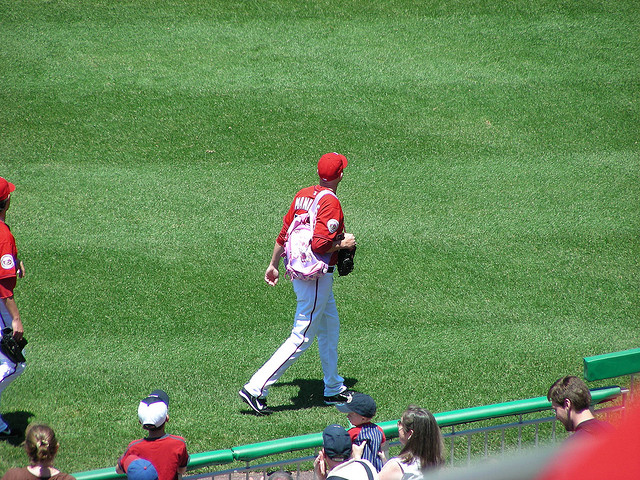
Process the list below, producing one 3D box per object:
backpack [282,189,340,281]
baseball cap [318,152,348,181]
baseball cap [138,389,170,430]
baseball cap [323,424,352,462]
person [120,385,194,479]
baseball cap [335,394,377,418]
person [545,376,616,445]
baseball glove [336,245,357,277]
[{"bbox_3d":[-0.147,-0.063,18.725,0.648,1.164,0.490,1,-16,1],"label":"backpack"},{"bbox_3d":[0.156,-0.995,18.875,0.270,0.412,0.237,19,-38,20],"label":"baseball cap"},{"bbox_3d":[-2.039,2.055,17.267,0.378,0.548,0.295,5,-44,11],"label":"baseball cap"},{"bbox_3d":[0.199,2.378,16.936,0.402,0.572,0.185,3,-55,-7],"label":"baseball cap"},{"bbox_3d":[-1.940,2.351,17.129,0.807,1.090,0.275,3,-16,-6],"label":"person"},{"bbox_3d":[0.429,2.027,17.267,0.420,0.210,0.255,17,7,9],"label":"baseball cap"},{"bbox_3d":[3.148,2.101,17.202,0.801,0.856,0.991,-11,-3,24],"label":"person"},{"bbox_3d":[0.313,0.276,18.855,0.272,0.368,0.099,6,13,-38],"label":"baseball glove"}]
